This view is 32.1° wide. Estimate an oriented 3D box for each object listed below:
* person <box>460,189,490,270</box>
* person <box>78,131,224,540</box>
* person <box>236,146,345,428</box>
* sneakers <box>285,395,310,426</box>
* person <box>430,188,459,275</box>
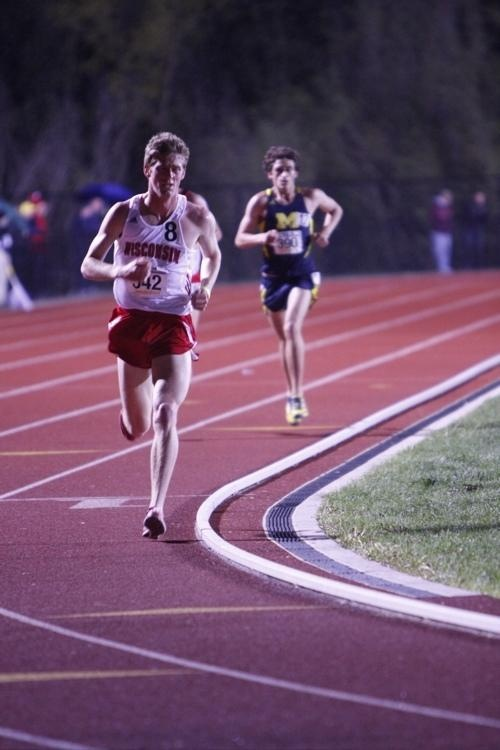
[{"bbox_3d":[6.874,-4.448,26.697,0.799,2.374,0.585,-3,5,13],"label":"person"},{"bbox_3d":[-0.425,-0.194,3.927,0.631,1.828,1.004,-5,5,-2],"label":"person"},{"bbox_3d":[0.313,-0.677,6.737,0.753,2.171,0.933,-4,5,7],"label":"person"},{"bbox_3d":[0.337,0.277,6.726,0.175,0.212,0.227,0,-3,-4],"label":"sneakers"},{"bbox_3d":[5.820,-4.354,26.514,0.654,2.460,0.805,-4,5,8],"label":"person"}]
